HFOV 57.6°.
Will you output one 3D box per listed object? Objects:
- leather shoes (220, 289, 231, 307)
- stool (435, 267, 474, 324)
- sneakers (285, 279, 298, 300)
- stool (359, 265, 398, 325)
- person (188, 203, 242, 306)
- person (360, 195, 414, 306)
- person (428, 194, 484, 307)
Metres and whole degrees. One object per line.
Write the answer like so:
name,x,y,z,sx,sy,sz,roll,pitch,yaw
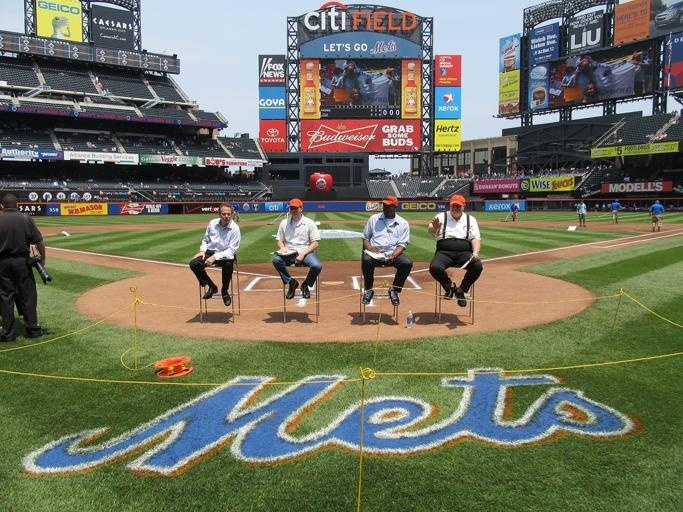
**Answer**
leather shoes,-2.106,0.761,11.292,0.178,0.085,0.321,-13,50,-12
stool,2.157,0.892,12.105,0.919,1.247,0.740,0,4,13
sneakers,-0.925,0.589,11.263,0.187,0.423,0.207,4,-10,33
stool,0.773,0.763,11.995,0.863,0.688,1.057,-1,12,-1
person,-2.272,0.039,11.264,0.926,1.933,0.702,-7,10,-11
person,0.752,-0.035,10.977,0.935,2.030,0.712,-5,10,3
person,2.041,-0.028,11.224,0.912,2.113,1.345,-3,10,11
